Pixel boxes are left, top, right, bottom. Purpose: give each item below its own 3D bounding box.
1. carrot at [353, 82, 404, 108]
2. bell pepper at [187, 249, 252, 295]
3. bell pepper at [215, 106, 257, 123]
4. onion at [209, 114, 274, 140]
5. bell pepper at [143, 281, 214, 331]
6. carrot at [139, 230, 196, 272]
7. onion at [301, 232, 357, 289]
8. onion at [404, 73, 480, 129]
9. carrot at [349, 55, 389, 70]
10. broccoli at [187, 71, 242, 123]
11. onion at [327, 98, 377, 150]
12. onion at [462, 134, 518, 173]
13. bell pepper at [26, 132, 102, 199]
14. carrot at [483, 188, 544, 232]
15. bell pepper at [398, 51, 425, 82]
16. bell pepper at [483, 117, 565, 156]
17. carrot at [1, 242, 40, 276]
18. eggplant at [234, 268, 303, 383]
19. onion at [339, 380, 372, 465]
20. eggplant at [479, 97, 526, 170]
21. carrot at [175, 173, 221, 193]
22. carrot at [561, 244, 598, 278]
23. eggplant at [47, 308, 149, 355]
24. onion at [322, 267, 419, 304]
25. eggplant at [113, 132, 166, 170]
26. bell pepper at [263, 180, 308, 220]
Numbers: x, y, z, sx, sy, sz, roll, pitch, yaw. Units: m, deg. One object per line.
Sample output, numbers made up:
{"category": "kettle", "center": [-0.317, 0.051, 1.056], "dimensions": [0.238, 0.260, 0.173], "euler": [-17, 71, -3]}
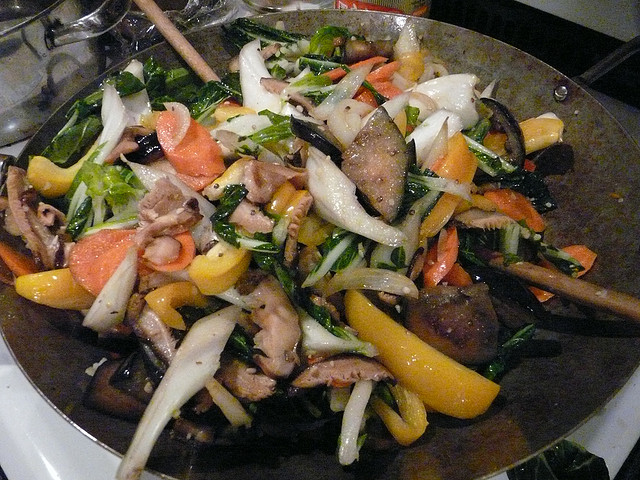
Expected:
{"category": "carrot", "center": [0.341, -0.825, 3.224], "dimensions": [0.199, 0.064, 0.197], "euler": [-31, 60, -27]}
{"category": "bell pepper", "center": [-0.460, 0.138, 2.672], "dimensions": [0.298, 0.107, 0.180], "euler": [-20, 66, -7]}
{"category": "bell pepper", "center": [-0.472, -0.698, 3.130], "dimensions": [0.184, 0.103, 0.057], "euler": [-11, 67, -8]}
{"category": "onion", "center": [-0.398, -0.586, 2.984], "dimensions": [0.320, 0.094, 0.099], "euler": [-16, 84, -1]}
{"category": "bell pepper", "center": [-0.650, 0.304, 2.672], "dimensions": [0.280, 0.076, 0.234], "euler": [-45, 106, -26]}
{"category": "carrot", "center": [-0.690, 0.050, 2.642], "dimensions": [0.197, 0.053, 0.201], "euler": [30, 79, 36]}
{"category": "onion", "center": [0.041, 0.109, 2.793], "dimensions": [0.047, 0.036, 0.337], "euler": [38, 76, 26]}
{"category": "onion", "center": [0.659, -0.802, 3.231], "dimensions": [0.412, 0.161, 0.263], "euler": [1, 83, -3]}
{"category": "carrot", "center": [0.305, -1.049, 3.372], "dimensions": [0.297, 0.077, 0.042], "euler": [-27, 85, -34]}
{"category": "broccoli", "center": [-0.598, -0.842, 3.313], "dimensions": [0.107, 0.208, 0.378], "euler": [24, 52, 6]}
{"category": "onion", "center": [0.158, -0.594, 3.003], "dimensions": [0.218, 0.086, 0.263], "euler": [15, 77, 25]}
{"category": "onion", "center": [0.913, -0.458, 3.071], "dimensions": [0.393, 0.062, 0.057], "euler": [30, 83, -1]}
{"category": "bell pepper", "center": [-1.396, -0.369, 3.094], "dimensions": [0.174, 0.244, 0.476], "euler": [22, 51, 20]}
{"category": "carrot", "center": [1.018, -0.143, 3.115], "dimensions": [0.319, 0.072, 0.191], "euler": [39, 60, 1]}
{"category": "bell pepper", "center": [0.547, -1.037, 3.459], "dimensions": [0.152, 0.109, 0.185], "euler": [0, 88, -4]}
{"category": "bell pepper", "center": [1.158, -0.632, 3.270], "dimensions": [0.480, 0.250, 0.135], "euler": [11, 86, 18]}
{"category": "carrot", "center": [-1.498, 0.106, 2.842], "dimensions": [0.208, 0.120, 0.041], "euler": [39, 104, -11]}
{"category": "eggplant", "center": [-0.245, 0.421, 2.758], "dimensions": [0.313, 0.161, 0.525], "euler": [-22, 89, -22]}
{"category": "onion", "center": [0.168, 0.829, 2.677], "dimensions": [0.106, 0.120, 0.401], "euler": [-11, 50, 34]}
{"category": "eggplant", "center": [1.007, -0.572, 3.257], "dimensions": [0.288, 0.364, 0.101], "euler": [13, 71, 5]}
{"category": "carrot", "center": [-0.616, -0.294, 2.882], "dimensions": [0.130, 0.031, 0.123], "euler": [-19, 78, -3]}
{"category": "carrot", "center": [1.350, 0.090, 3.015], "dimensions": [0.197, 0.065, 0.214], "euler": [-5, 17, 24]}
{"category": "eggplant", "center": [-1.107, 0.423, 2.823], "dimensions": [0.313, 0.317, 0.064], "euler": [12, 76, 46]}
{"category": "onion", "center": [0.250, 0.198, 2.785], "dimensions": [0.445, 0.093, 0.173], "euler": [3, 36, 13]}
{"category": "eggplant", "center": [-0.945, -0.456, 3.067], "dimensions": [0.206, 0.333, 0.082], "euler": [9, 68, -28]}
{"category": "bell pepper", "center": [-0.165, -0.188, 2.732], "dimensions": [0.144, 0.047, 0.185], "euler": [27, 69, 14]}
